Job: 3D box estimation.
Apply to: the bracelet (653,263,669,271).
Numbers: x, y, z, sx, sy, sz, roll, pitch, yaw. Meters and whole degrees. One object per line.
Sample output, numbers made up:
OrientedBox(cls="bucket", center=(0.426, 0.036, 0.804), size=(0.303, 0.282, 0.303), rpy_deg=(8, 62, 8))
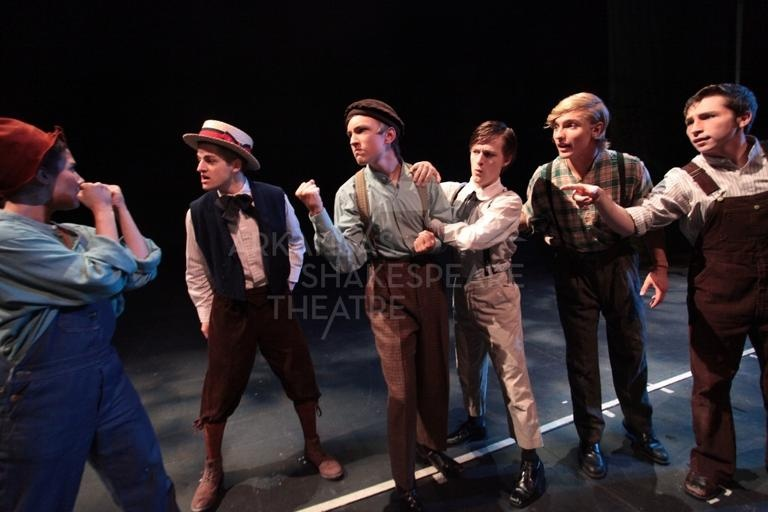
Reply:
OrientedBox(cls="bracelet", center=(2.011, 0.082, 3.997), size=(0.068, 0.059, 0.053), rpy_deg=(24, -5, 29))

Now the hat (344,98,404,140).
OrientedBox(cls="hat", center=(-0.056, -0.946, 3.681), size=(0.323, 0.105, 0.292), rpy_deg=(21, -3, -25))

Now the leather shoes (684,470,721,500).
OrientedBox(cls="leather shoes", center=(2.173, 1.563, 3.766), size=(0.264, 0.103, 0.115), rpy_deg=(-7, 6, -24))

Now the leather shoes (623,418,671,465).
OrientedBox(cls="leather shoes", center=(1.927, 1.382, 4.094), size=(0.142, 0.145, 0.379), rpy_deg=(-10, 10, -16))

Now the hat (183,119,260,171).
OrientedBox(cls="hat", center=(-1.174, -0.873, 3.929), size=(0.406, 0.118, 0.393), rpy_deg=(14, 6, 42))

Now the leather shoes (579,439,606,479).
OrientedBox(cls="leather shoes", center=(1.520, 1.418, 4.022), size=(0.172, 0.241, 0.409), rpy_deg=(-3, 12, 10))

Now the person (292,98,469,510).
OrientedBox(cls="person", center=(0.083, 0.327, 3.752), size=(0.958, 1.833, 0.417), rpy_deg=(-9, 5, -5))
